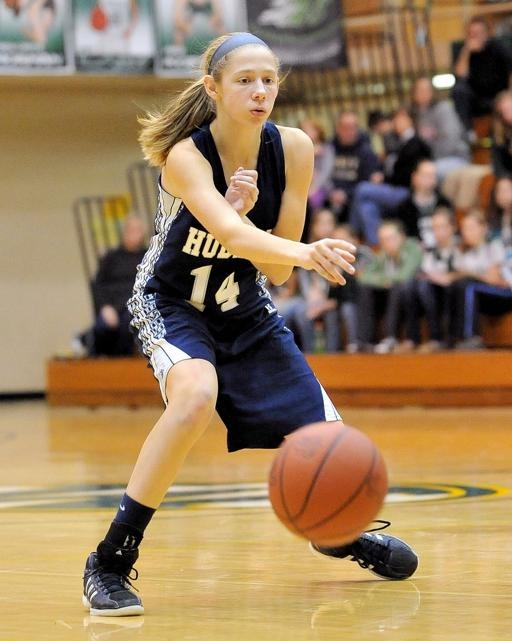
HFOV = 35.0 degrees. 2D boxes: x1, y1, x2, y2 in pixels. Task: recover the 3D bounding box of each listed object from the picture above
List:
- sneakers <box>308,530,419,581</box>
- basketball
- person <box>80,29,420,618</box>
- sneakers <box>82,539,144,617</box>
[{"bbox_3d":[0.235,0.505,1.796,0.247,0.070,0.090,7,-5,21],"label":"sneakers"},{"bbox_3d":[0.132,0.313,1.468,0.207,0.239,0.149,-4,12,-10],"label":"basketball"},{"bbox_3d":[-0.077,0.000,1.683,0.550,1.202,0.681,-2,12,5],"label":"person"},{"bbox_3d":[-0.282,0.501,1.588,0.109,0.118,0.244,5,-10,-28],"label":"sneakers"}]
